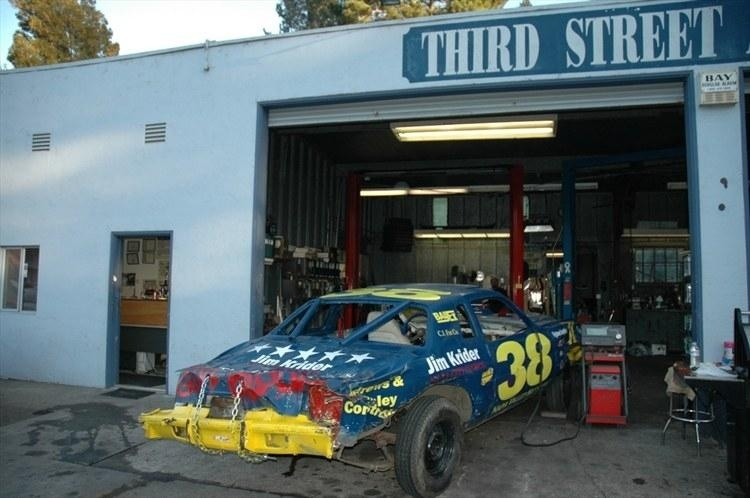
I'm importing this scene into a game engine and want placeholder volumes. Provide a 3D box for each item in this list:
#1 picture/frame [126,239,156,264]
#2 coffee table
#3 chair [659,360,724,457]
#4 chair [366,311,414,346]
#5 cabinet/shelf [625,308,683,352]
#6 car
[{"bbox_3d":[-5.174,0.059,14.001,0.861,0.558,0.222,-2,-3,29],"label":"picture/frame"},{"bbox_3d":[4.829,2.235,8.975,0.688,1.285,1.847,-2,-3,28],"label":"coffee table"},{"bbox_3d":[4.787,2.401,9.793,0.707,1.141,0.846,0,-2,17],"label":"chair"},{"bbox_3d":[0.222,1.072,8.693,0.384,0.509,0.576,-8,-3,13],"label":"chair"},{"bbox_3d":[7.409,2.042,16.909,1.593,1.316,1.003,0,-3,14],"label":"cabinet/shelf"},{"bbox_3d":[-0.063,1.824,8.537,5.531,2.661,1.877,1,-3,-29],"label":"car"}]
